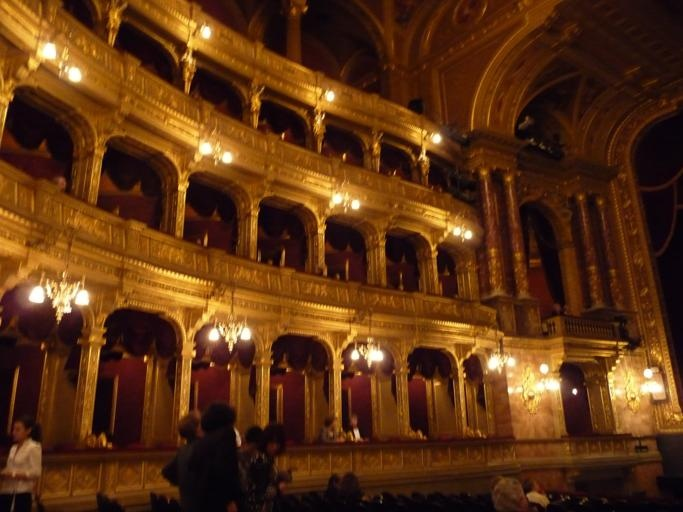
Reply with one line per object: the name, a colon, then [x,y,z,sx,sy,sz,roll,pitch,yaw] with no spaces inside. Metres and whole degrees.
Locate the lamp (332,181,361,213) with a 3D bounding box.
lamp: [0.070,-2.186,20.162,0.957,1.063,0.302,13,-17,-34]

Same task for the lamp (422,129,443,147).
lamp: [4.022,-5.383,23.876,0.807,0.590,0.870,7,8,-17]

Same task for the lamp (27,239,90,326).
lamp: [-6.876,0.546,12.925,1.060,2.007,1.148,23,-34,-33]

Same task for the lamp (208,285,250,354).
lamp: [-3.329,2.053,15.948,1.144,1.749,2.795,3,-23,-13]

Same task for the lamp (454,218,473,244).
lamp: [5.224,-1.095,23.444,0.589,0.757,1.647,-16,-26,33]

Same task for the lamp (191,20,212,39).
lamp: [-4.829,-7.738,18.411,0.507,0.534,0.898,6,11,8]

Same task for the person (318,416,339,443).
person: [-0.401,5.620,17.325,0.566,0.887,0.747,5,-15,-21]
